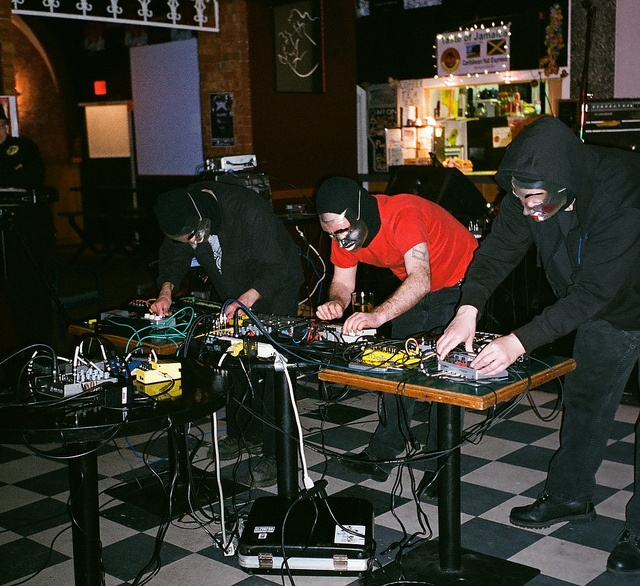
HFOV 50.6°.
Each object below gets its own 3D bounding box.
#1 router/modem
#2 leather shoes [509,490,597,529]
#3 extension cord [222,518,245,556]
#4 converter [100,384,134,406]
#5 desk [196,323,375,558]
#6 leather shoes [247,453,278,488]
[{"bbox_3d":[-0.032,0.885,2.504,0.487,0.196,0.352,1,12,9],"label":"router/modem"},{"bbox_3d":[0.987,0.918,2.907,0.356,0.153,0.149,0,0,8],"label":"leather shoes"},{"bbox_3d":[-0.350,0.992,2.732,0.059,0.156,0.117,14,-18,-2],"label":"extension cord"},{"bbox_3d":[-0.660,0.324,2.170,0.124,0.070,0.061,0,4,-12],"label":"converter"},{"bbox_3d":[-0.048,0.605,2.698,0.720,0.882,0.782,0,8,3],"label":"desk"},{"bbox_3d":[-0.274,0.879,3.351,0.098,0.087,0.214,0,-8,18],"label":"leather shoes"}]
